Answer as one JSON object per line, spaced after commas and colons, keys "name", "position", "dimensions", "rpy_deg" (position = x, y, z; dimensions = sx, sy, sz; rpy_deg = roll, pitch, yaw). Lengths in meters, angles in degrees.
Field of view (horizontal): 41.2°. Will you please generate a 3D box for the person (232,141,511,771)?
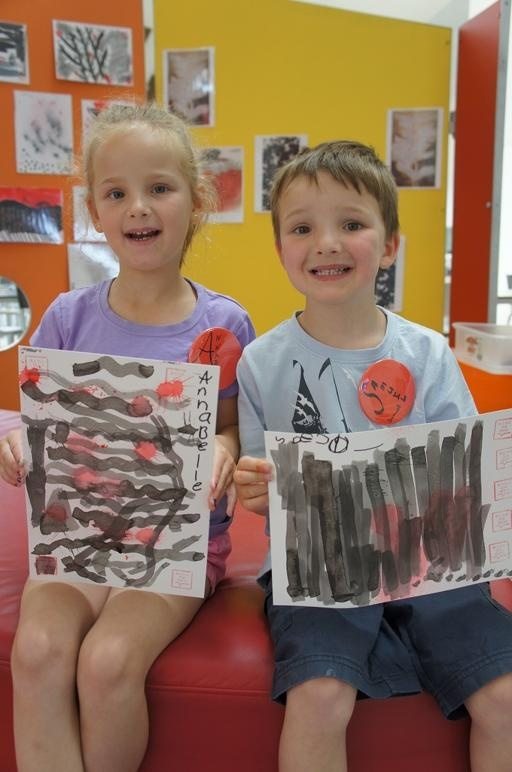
{"name": "person", "position": [0.167, 0.048, 1.001], "dimensions": [0.395, 0.881, 0.490], "rpy_deg": [0, 8, -2]}
